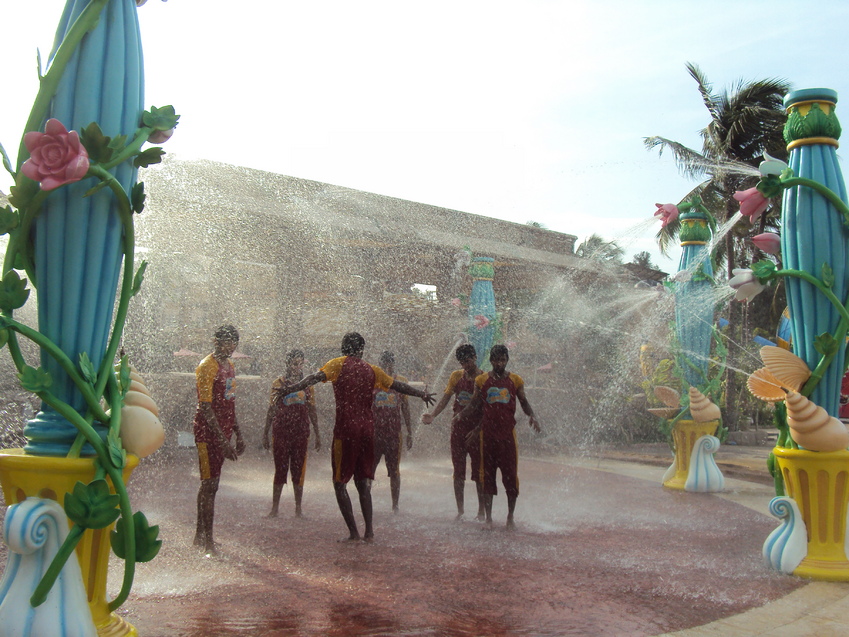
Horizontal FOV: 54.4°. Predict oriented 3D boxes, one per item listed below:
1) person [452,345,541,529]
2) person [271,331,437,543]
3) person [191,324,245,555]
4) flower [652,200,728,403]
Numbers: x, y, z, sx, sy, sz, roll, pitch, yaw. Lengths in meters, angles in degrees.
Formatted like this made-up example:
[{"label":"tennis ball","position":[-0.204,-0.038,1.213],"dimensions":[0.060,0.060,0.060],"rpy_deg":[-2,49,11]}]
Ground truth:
[{"label":"person","position":[0.778,1.194,8.623],"dimensions":[0.736,1.810,1.015],"rpy_deg":[1,0,7]},{"label":"person","position":[-0.604,1.059,7.329],"dimensions":[0.684,1.861,0.851],"rpy_deg":[1,0,27]},{"label":"person","position":[-1.839,1.016,7.366],"dimensions":[0.411,1.949,1.262],"rpy_deg":[1,0,-14]},{"label":"flower","position":[3.739,-0.253,11.201],"dimensions":[0.648,2.628,1.684],"rpy_deg":[1,0,18]}]
